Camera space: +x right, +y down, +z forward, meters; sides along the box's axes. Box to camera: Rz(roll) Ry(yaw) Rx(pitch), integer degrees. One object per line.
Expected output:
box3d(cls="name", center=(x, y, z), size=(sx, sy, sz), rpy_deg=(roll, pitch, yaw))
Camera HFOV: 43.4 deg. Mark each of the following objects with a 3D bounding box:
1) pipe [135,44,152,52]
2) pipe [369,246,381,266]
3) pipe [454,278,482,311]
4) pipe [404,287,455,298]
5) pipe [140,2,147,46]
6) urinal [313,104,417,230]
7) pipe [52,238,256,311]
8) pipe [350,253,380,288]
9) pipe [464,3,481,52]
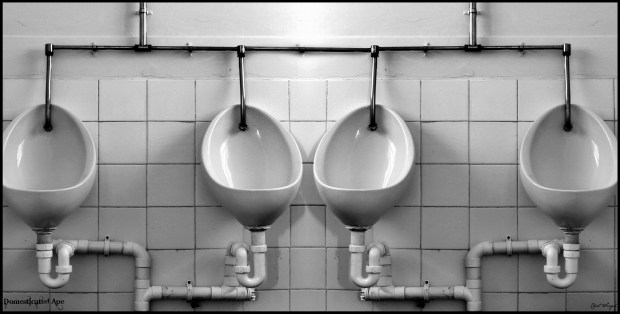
box3d(cls="pipe", center=(-1.118, -0.734, 5.216), size=(0.107, 0.039, 0.024), rpy_deg=(1, -10, 1))
box3d(cls="pipe", center=(0.437, 0.656, 5.123), size=(0.064, 0.132, 0.093), rpy_deg=(-7, -12, 39))
box3d(cls="pipe", center=(1.058, 0.929, 5.211), size=(0.186, 0.210, 0.049), rpy_deg=(1, -10, 0))
box3d(cls="pipe", center=(0.805, 0.912, 5.216), size=(0.326, 0.072, 0.061), rpy_deg=(2, -9, -9))
box3d(cls="pipe", center=(-1.118, -0.894, 5.219), size=(0.042, 0.293, 0.077), rpy_deg=(0, -10, 8))
box3d(cls="urinal", center=(0.372, 0.098, 5.073), size=(0.695, 0.659, 0.765), rpy_deg=(8, 31, 15))
box3d(cls="pipe", center=(-1.033, 0.795, 5.212), size=(1.343, 0.478, 0.106), rpy_deg=(1, -10, -1))
box3d(cls="pipe", center=(0.350, 0.750, 5.119), size=(0.142, 0.221, 0.162), rpy_deg=(9, -12, -39))
box3d(cls="pipe", center=(1.097, -0.875, 5.225), size=(0.112, 0.319, 0.085), rpy_deg=(0, -10, 9))
